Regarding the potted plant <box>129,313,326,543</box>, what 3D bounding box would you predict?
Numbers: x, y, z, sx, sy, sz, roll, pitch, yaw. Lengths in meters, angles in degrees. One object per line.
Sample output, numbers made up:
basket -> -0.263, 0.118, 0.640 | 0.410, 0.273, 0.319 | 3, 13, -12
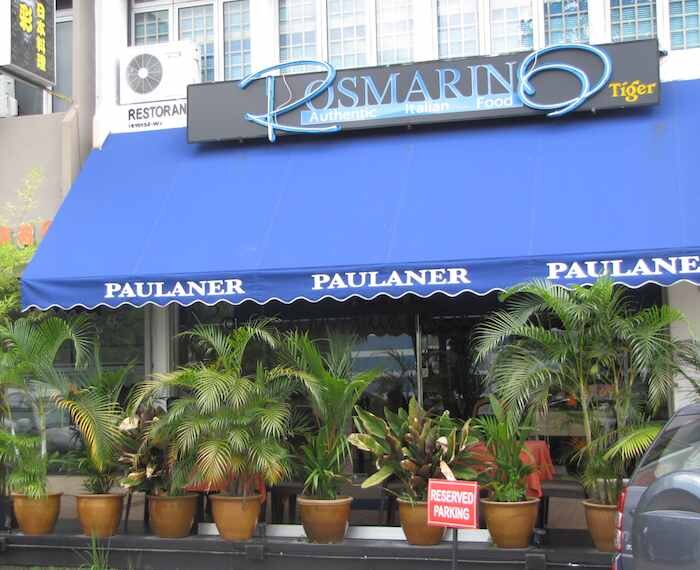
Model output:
potted plant -> -1.587, 1.866, 13.349 | 1.938, 2.815, 0.950 | -1, -6, -7

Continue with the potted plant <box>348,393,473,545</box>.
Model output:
potted plant -> 0.781, 2.414, 13.480 | 1.576, 1.727, 1.718 | 2, -14, -3

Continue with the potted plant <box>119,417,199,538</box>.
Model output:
potted plant -> -2.691, 2.529, 14.034 | 1.281, 2.133, 1.301 | 2, -8, -24
